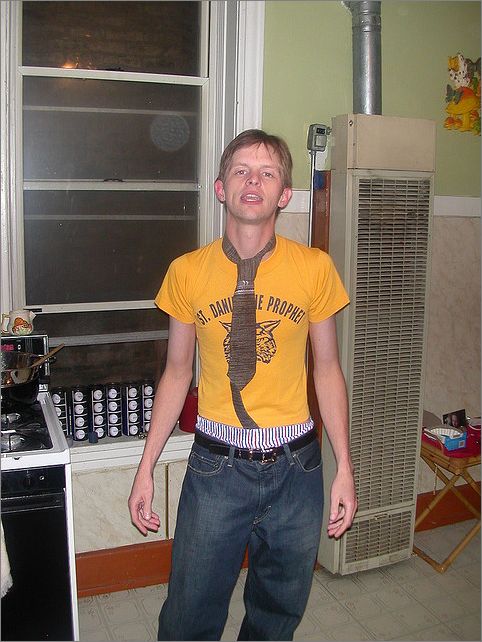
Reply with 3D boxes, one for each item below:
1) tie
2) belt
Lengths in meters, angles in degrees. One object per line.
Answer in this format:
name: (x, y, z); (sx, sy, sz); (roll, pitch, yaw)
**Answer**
tie: (0.015, -0.020, 1.182); (0.111, 0.313, 0.121); (1, 6, -2)
belt: (0.036, 0.268, 1.198); (0.275, 0.049, 0.102); (1, 7, -2)
